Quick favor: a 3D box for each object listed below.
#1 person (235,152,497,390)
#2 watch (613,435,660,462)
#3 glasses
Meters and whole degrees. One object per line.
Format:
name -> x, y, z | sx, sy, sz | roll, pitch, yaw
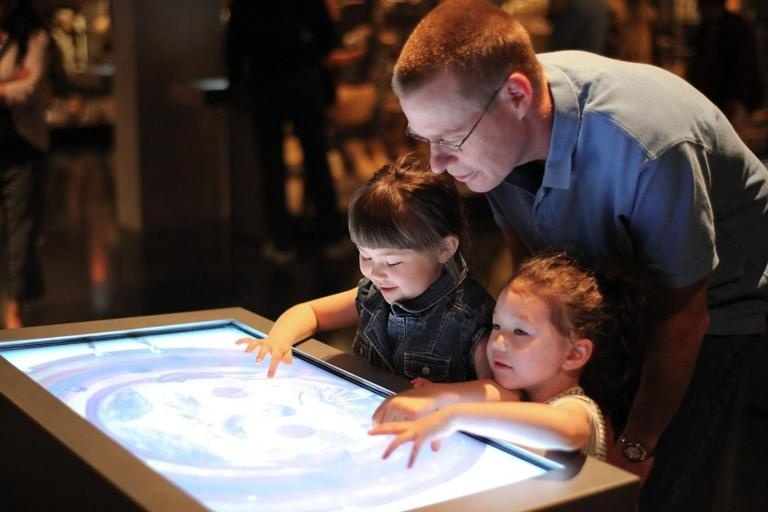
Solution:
person -> -0.053, -0.029, 2.103 | 0.597, 0.916, 0.621 | -12, 16, -34
watch -> 0.595, 0.462, 1.680 | 0.062, 0.034, 0.052 | -13, 21, -26
glasses -> 0.176, -0.330, 1.679 | 0.163, 0.045, 0.157 | -53, 28, -8
